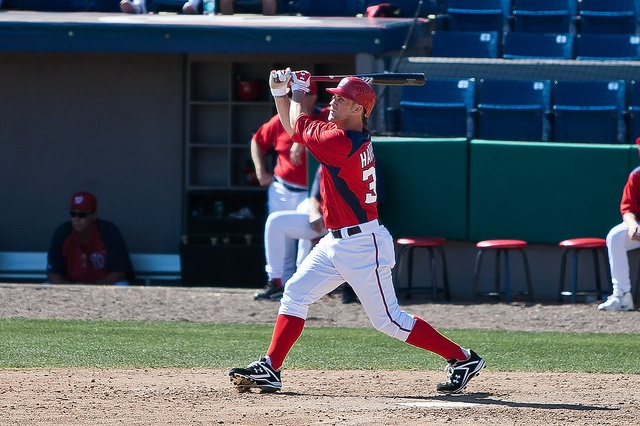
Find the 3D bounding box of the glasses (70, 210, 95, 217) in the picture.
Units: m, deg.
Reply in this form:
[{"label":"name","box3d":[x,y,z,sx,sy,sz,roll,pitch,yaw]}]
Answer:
[{"label":"glasses","box3d":[-2.612,0.011,16.360,0.262,0.095,0.116,1,1,-12]}]

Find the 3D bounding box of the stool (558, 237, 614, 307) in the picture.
[{"label":"stool","box3d":[2.813,0.632,15.808,0.556,0.710,0.546,-4,1,-34]}]

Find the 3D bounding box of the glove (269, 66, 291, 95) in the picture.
[{"label":"glove","box3d":[-0.349,-1.189,13.338,0.184,0.233,0.118,0,8,5]}]

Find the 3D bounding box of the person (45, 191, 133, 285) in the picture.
[{"label":"person","box3d":[-2.549,0.286,16.837,0.998,1.210,1.008,-1,1,0]}]

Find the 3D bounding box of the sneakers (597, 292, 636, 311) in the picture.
[{"label":"sneakers","box3d":[3.084,0.922,15.496,0.415,0.242,0.135,2,3,9]}]

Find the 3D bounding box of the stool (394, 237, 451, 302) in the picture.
[{"label":"stool","box3d":[1.106,0.609,16.022,0.693,0.732,0.650,0,-7,0]}]

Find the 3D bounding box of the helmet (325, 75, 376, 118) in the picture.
[{"label":"helmet","box3d":[0.278,-1.061,13.199,0.397,0.210,0.273,25,5,-13]}]

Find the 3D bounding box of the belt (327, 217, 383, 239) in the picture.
[{"label":"belt","box3d":[0.309,0.139,13.150,0.458,0.179,0.118,1,1,0]}]

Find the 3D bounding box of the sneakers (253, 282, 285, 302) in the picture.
[{"label":"sneakers","box3d":[-0.523,0.825,15.527,0.408,0.236,0.134,2,6,16]}]

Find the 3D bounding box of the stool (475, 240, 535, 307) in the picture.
[{"label":"stool","box3d":[1.924,0.627,15.800,0.682,0.782,0.660,1,1,-2]}]

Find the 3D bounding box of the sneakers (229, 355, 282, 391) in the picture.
[{"label":"sneakers","box3d":[-0.557,1.433,13.185,0.509,0.291,0.213,11,-21,-9]}]
